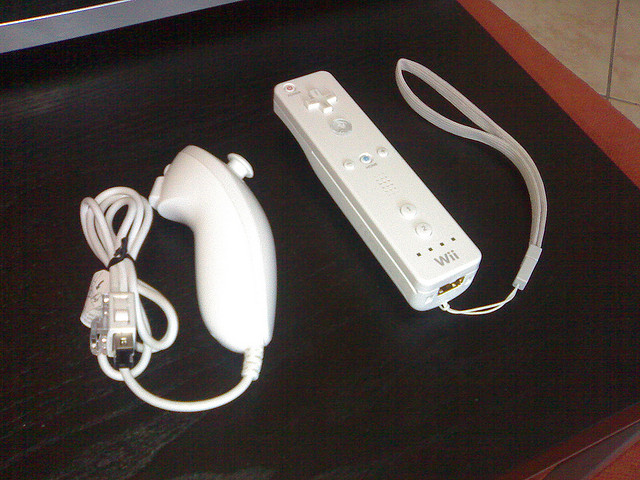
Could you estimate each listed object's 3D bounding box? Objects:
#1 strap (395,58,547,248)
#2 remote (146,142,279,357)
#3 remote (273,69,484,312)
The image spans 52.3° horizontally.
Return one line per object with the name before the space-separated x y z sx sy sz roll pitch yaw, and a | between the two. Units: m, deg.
strap | 0.184 -0.133 0.907 0.116 0.058 0.335 -29 64 -4
remote | -0.127 0.017 0.749 0.155 0.064 0.220 -14 77 -15
remote | 0.049 -0.108 0.863 0.125 0.115 0.429 -24 65 -24
